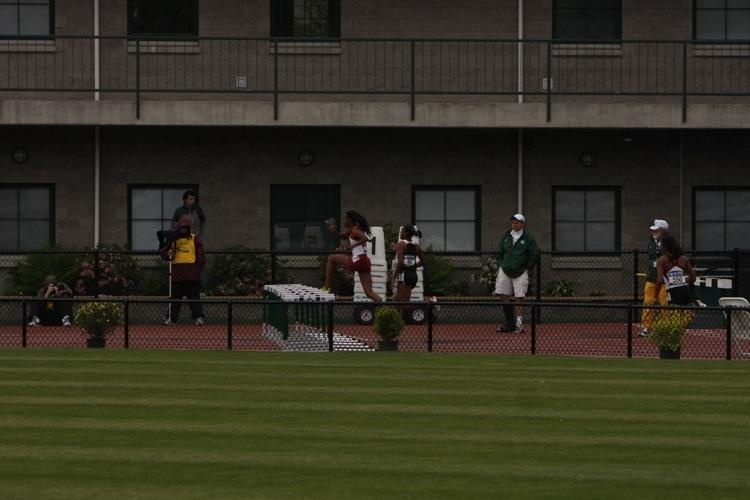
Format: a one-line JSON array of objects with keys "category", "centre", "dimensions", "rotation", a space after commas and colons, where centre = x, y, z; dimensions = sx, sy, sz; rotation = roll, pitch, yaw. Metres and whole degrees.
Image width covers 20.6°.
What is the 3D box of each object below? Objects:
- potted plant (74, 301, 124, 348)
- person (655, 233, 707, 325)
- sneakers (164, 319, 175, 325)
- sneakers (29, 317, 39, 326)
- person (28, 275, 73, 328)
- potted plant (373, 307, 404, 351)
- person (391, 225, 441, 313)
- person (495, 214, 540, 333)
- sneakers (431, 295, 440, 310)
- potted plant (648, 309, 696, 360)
[{"category": "potted plant", "centre": [-5.454, 1.483, 40.330], "dimensions": [0.807, 0.861, 0.310], "rotation": [1, -2, -4]}, {"category": "person", "centre": [6.080, 0.606, 41.566], "dimensions": [0.701, 1.782, 0.708], "rotation": [-1, -1, -1]}, {"category": "sneakers", "centre": [-4.162, 1.450, 40.606], "dimensions": [0.167, 0.115, 0.202], "rotation": [2, -3, -37]}, {"category": "sneakers", "centre": [-6.889, 1.453, 40.823], "dimensions": [0.182, 0.095, 0.182], "rotation": [-11, 22, -8]}, {"category": "person", "centre": [-6.664, 0.964, 41.233], "dimensions": [0.652, 1.253, 0.647], "rotation": [-2, -7, -20]}, {"category": "potted plant", "centre": [0.218, 1.554, 40.306], "dimensions": [0.804, 1.043, 0.764], "rotation": [0, 5, -3]}, {"category": "person", "centre": [0.639, 0.293, 43.619], "dimensions": [0.659, 1.579, 0.759], "rotation": [1, -2, -2]}, {"category": "person", "centre": [2.931, 0.341, 42.829], "dimensions": [0.900, 2.404, 0.688], "rotation": [1, -1, -29]}, {"category": "sneakers", "centre": [1.155, 1.090, 41.189], "dimensions": [0.138, 0.247, 0.136], "rotation": [2, 9, 12]}, {"category": "potted plant", "centre": [5.648, 1.624, 39.714], "dimensions": [0.912, 1.261, 0.999], "rotation": [2, 0, 14]}]
